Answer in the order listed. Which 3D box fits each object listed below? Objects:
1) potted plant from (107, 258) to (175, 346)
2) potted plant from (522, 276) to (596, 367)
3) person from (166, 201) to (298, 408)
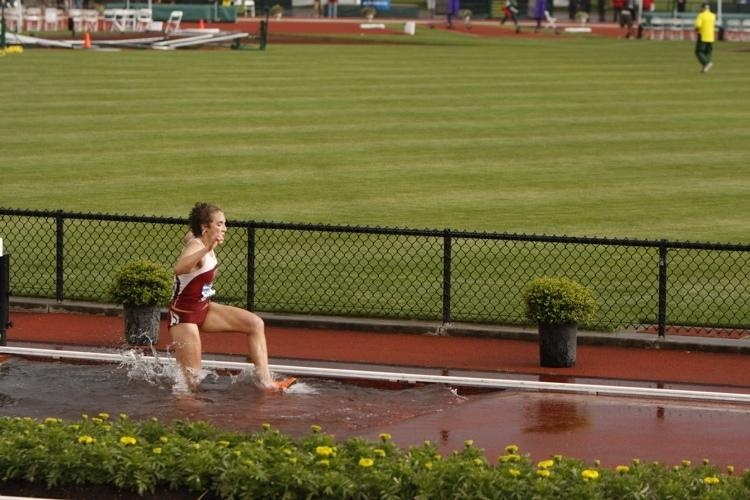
[{"bbox_3d":[-4.029,0.883,28.881,1.185,1.231,1.149,-7,-15,19],"label":"potted plant"},{"bbox_3d":[3.245,1.234,28.442,1.414,1.560,1.553,4,-15,-1],"label":"potted plant"},{"bbox_3d":[-2.538,0.750,26.670,1.587,2.991,0.548,0,14,-4],"label":"person"}]
